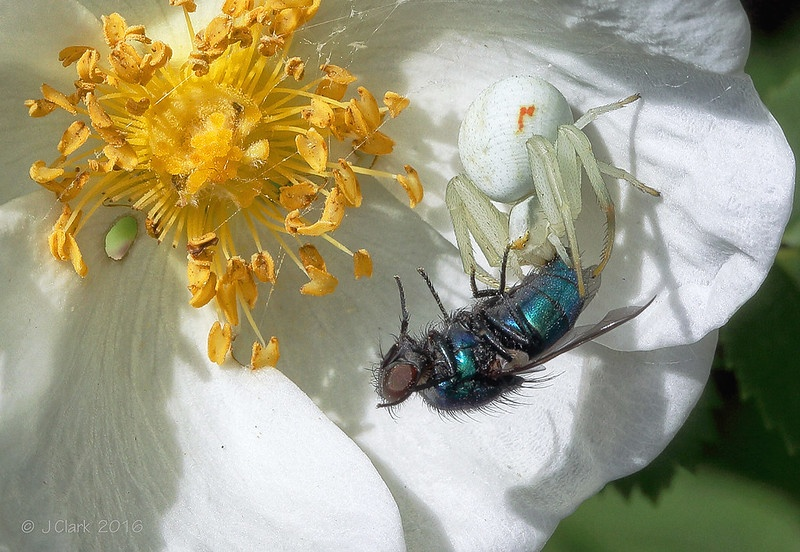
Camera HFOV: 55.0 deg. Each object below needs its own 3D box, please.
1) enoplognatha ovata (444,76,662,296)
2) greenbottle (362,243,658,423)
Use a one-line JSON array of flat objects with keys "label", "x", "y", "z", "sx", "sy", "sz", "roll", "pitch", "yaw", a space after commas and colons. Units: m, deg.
[{"label": "enoplognatha ovata", "x": 0.299, "y": -0.172, "z": 1.565, "sx": 0.419, "sy": 0.271, "sz": 0.360, "roll": 2, "pitch": 67, "yaw": 13}, {"label": "greenbottle", "x": 0.197, "y": 0.111, "z": 1.588, "sx": 0.349, "sy": 0.721, "sz": 0.469, "roll": 6, "pitch": 98, "yaw": 27}]
